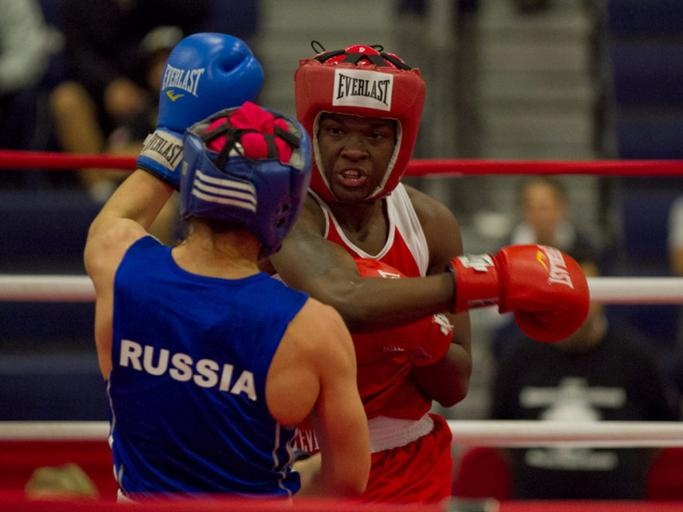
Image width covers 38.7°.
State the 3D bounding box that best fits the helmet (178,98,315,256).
[{"bbox_3d":[-0.176,-0.181,2.364,0.304,0.352,0.358,8,-2,-2],"label":"helmet"}]

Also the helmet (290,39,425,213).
[{"bbox_3d":[0.068,-0.370,2.727,0.360,0.423,0.433,3,-1,-3],"label":"helmet"}]

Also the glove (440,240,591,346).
[{"bbox_3d":[0.422,0.089,2.448,0.350,0.213,0.164,-2,-21,-14],"label":"glove"}]

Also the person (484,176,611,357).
[{"bbox_3d":[0.992,0.035,4.633,0.305,0.807,0.615,-3,11,-7],"label":"person"}]

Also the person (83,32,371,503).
[{"bbox_3d":[-0.331,0.010,2.412,0.583,1.091,0.694,-7,15,-19],"label":"person"}]
